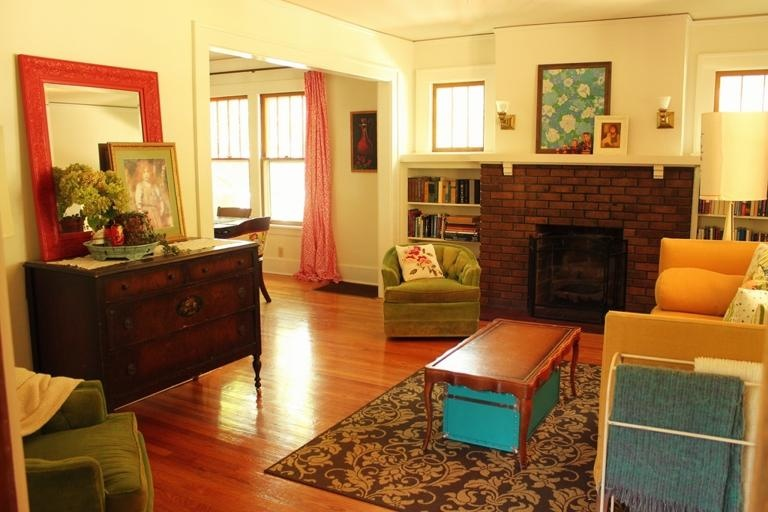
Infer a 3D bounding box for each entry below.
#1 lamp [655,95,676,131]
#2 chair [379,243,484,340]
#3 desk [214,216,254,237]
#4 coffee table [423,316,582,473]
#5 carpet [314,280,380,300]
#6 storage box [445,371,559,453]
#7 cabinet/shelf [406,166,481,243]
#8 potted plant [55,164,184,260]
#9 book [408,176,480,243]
[{"bbox_3d":[3.093,-1.563,6.095,0.188,0.362,0.183,2,14,13],"label":"lamp"},{"bbox_3d":[0.509,0.299,6.190,1.179,0.931,0.984,0,4,2],"label":"chair"},{"bbox_3d":[-1.894,-0.375,6.949,0.410,0.181,1.123,-4,13,-14],"label":"desk"},{"bbox_3d":[0.783,0.776,3.943,0.783,0.509,1.274,2,8,27],"label":"coffee table"},{"bbox_3d":[-0.423,0.470,7.954,1.037,0.041,0.737,6,14,28],"label":"carpet"},{"bbox_3d":[0.804,0.894,3.954,0.487,0.383,0.850,3,7,27],"label":"storage box"},{"bbox_3d":[0.802,-0.672,7.306,1.035,0.875,0.328,3,10,14],"label":"cabinet/shelf"},{"bbox_3d":[-2.051,-0.347,3.968,0.657,0.516,0.574,-10,-24,5],"label":"potted plant"},{"bbox_3d":[0.802,-0.615,7.305,0.930,0.796,0.302,2,4,24],"label":"book"}]
